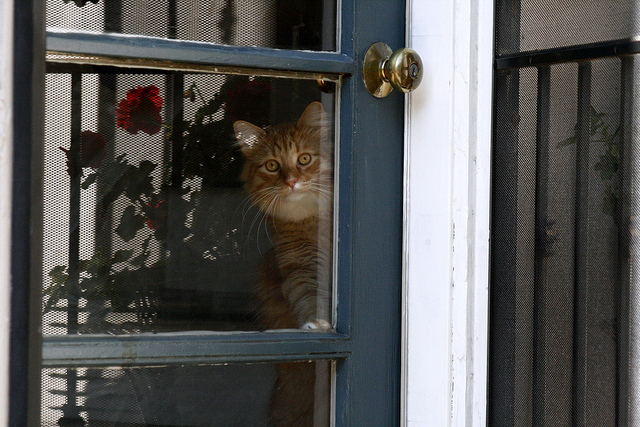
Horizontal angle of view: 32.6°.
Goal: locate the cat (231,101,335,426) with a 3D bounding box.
[{"bbox_3d":[-0.062,0.004,1.949,0.186,0.388,0.154,-2,-19,-4],"label":"cat"}]
